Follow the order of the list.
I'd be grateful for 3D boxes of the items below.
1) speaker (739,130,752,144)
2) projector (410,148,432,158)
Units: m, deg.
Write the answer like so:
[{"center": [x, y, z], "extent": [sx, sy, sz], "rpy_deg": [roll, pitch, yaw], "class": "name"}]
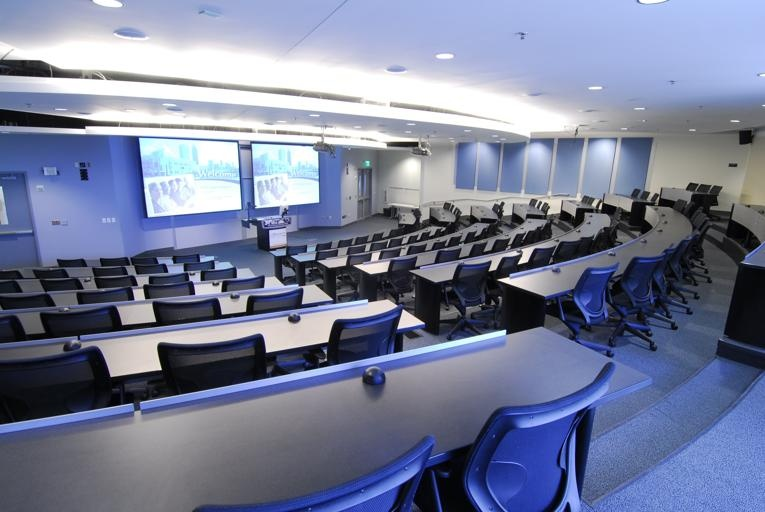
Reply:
[{"center": [9.674, -3.204, 13.326], "extent": [0.356, 0.332, 0.248], "rpy_deg": [8, 17, 38], "class": "speaker"}, {"center": [0.999, -2.768, 13.554], "extent": [0.759, 0.291, 1.043], "rpy_deg": [0, 11, 0], "class": "projector"}]
